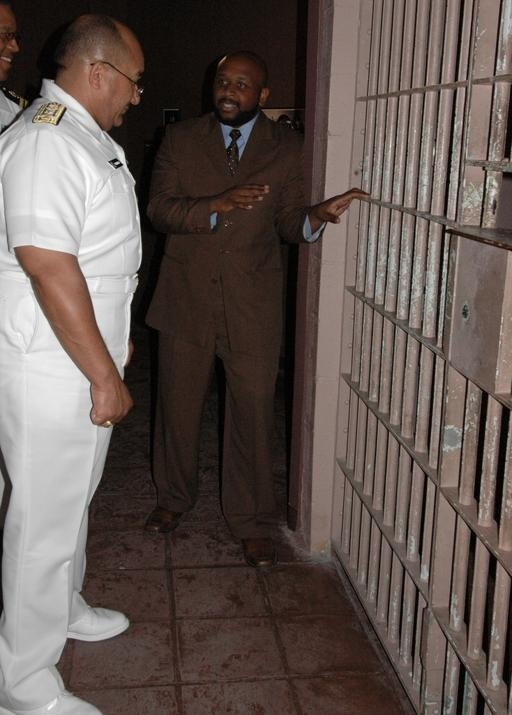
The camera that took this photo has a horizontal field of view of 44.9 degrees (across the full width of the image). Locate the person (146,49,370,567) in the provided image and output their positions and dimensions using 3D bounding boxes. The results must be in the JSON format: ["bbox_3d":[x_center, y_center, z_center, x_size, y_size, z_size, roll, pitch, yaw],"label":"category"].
[{"bbox_3d":[-0.102,-0.162,2.441,0.707,1.950,0.451,6,11,16],"label":"person"}]

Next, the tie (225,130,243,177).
[{"bbox_3d":[-0.080,-0.777,2.349,0.043,0.186,0.049,2,-1,-6],"label":"tie"}]

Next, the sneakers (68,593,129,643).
[{"bbox_3d":[-0.483,0.824,2.023,0.248,0.152,0.093,-2,13,-15],"label":"sneakers"}]

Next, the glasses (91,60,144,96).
[{"bbox_3d":[-0.319,-0.683,1.487,0.075,0.023,0.072,25,-4,-35],"label":"glasses"}]
